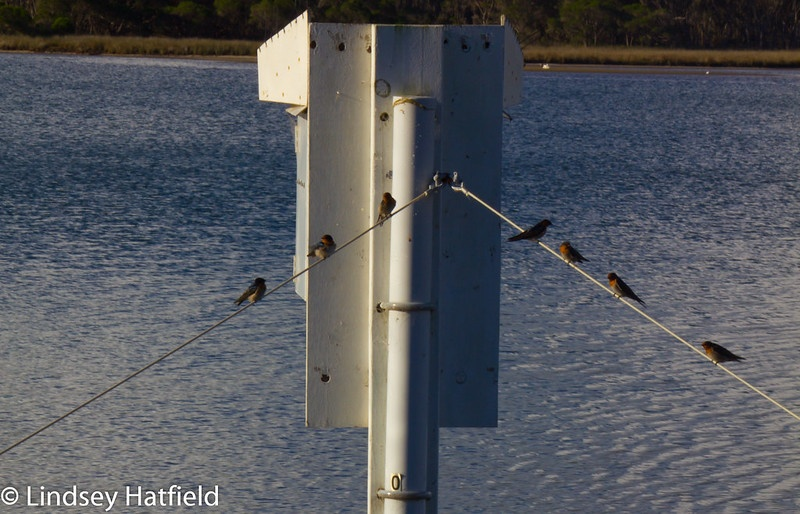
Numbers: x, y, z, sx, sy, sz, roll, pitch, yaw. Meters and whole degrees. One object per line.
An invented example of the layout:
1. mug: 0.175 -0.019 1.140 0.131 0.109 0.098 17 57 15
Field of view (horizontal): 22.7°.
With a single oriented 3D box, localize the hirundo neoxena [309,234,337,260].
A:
1. hirundo neoxena: -2.445 -0.308 63.549 0.761 0.602 0.562 -26 59 -32
